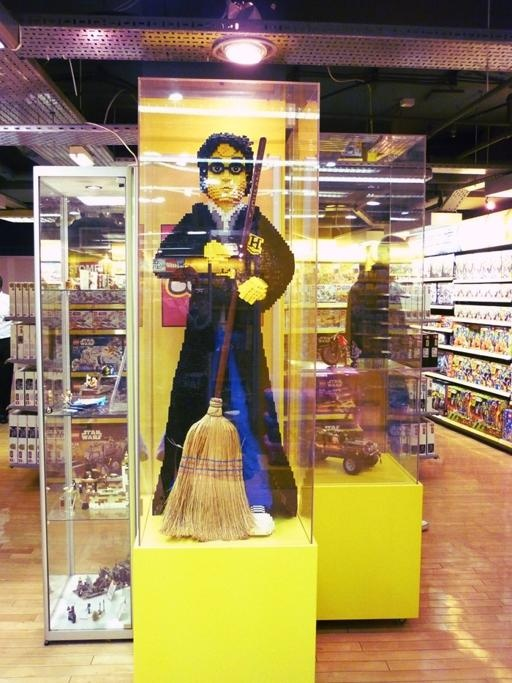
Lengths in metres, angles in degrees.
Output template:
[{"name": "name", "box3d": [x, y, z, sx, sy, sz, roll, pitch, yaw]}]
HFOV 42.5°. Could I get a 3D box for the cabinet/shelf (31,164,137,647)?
[{"name": "cabinet/shelf", "box3d": [-0.740, 0.278, 2.901, 0.427, 2.051, 0.383, -1, 7, -10]}]
